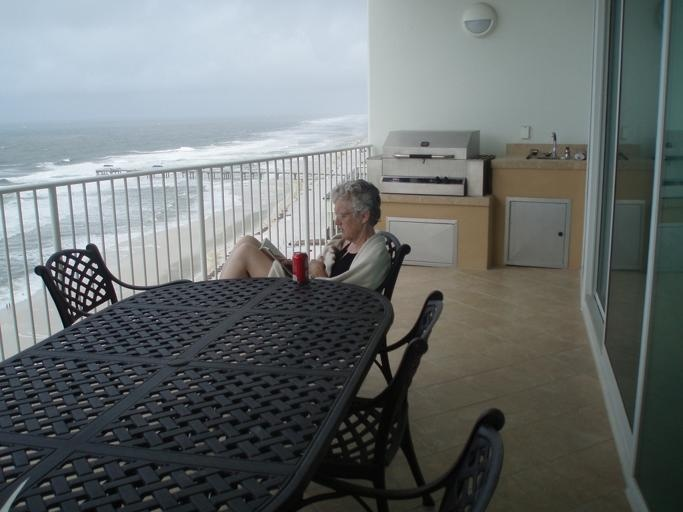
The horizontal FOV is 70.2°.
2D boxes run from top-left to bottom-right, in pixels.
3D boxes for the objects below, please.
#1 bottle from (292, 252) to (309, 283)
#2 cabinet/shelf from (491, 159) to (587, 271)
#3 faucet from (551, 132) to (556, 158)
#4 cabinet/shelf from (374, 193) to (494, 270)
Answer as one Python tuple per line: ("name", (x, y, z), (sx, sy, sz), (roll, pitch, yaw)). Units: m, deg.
("bottle", (-0.197, 0.049, 2.333), (0.070, 0.145, 0.075), (-1, 15, 0))
("cabinet/shelf", (2.148, -0.532, 5.849), (1.209, 1.677, 1.114), (1, 7, 19))
("faucet", (2.408, -1.266, 5.468), (0.072, 0.274, 0.344), (5, 17, 23))
("cabinet/shelf", (1.051, -0.409, 5.821), (1.336, 0.855, 0.723), (5, 22, 26))
